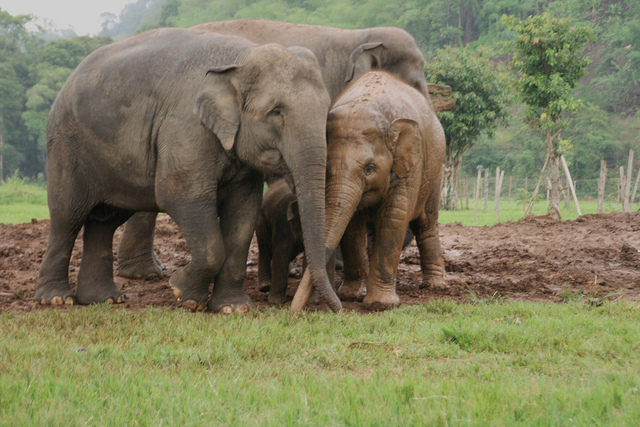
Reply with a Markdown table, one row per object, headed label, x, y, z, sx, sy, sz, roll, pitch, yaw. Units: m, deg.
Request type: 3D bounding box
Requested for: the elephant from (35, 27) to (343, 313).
| label | x | y | z | sx | sy | sz | roll | pitch | yaw |
| --- | --- | --- | --- | --- | --- | --- | --- | --- | --- |
| elephant | -1.964 | -0.520 | 11.348 | 4.644 | 3.778 | 2.358 | 3 | 1 | 26 |
